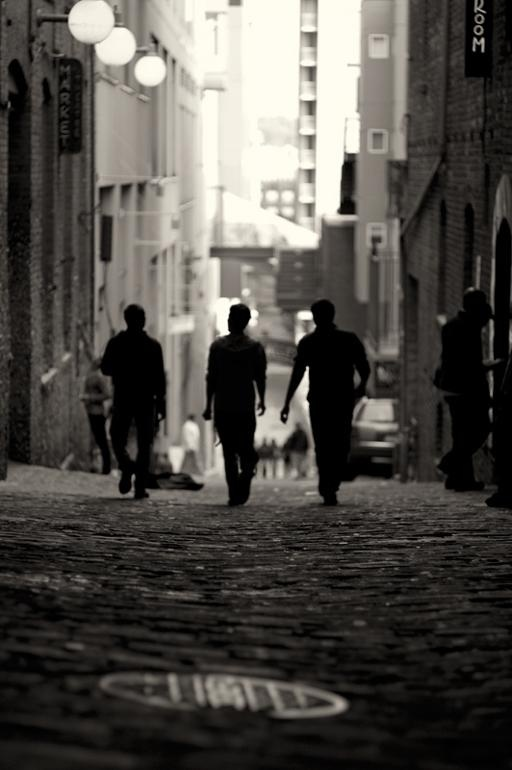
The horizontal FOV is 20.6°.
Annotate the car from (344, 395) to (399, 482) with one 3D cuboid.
[{"bbox_3d":[2.108,1.004,25.392,0.941,1.111,1.880,0,4,6],"label":"car"}]

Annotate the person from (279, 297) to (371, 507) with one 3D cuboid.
[{"bbox_3d":[0.554,0.149,10.421,0.623,1.526,0.445,0,3,-34],"label":"person"}]

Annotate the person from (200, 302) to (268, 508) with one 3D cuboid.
[{"bbox_3d":[-0.158,0.181,10.686,0.449,1.573,0.795,2,3,-1],"label":"person"}]

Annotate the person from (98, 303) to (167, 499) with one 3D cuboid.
[{"bbox_3d":[-0.963,0.173,11.042,0.503,1.582,0.783,2,3,-4],"label":"person"}]

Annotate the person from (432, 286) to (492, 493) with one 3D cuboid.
[{"bbox_3d":[1.638,0.088,11.177,0.454,1.671,0.894,2,3,7],"label":"person"}]
